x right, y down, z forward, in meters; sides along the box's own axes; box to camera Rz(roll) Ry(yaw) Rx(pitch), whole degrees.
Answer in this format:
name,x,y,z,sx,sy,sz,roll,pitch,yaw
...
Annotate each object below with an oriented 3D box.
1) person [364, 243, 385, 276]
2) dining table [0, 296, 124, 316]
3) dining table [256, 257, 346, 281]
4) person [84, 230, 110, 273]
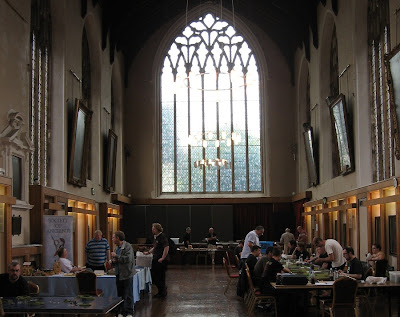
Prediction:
name,x,y,z,sx,sy,sz,roll,pitch,yaw
person,4.784,2.825,11.902,0.398,0.939,0.491,10,-18,-24
dining table,-2.420,2.512,7.489,1.890,0.336,0.939,-3,-13,3
dining table,2.170,2.710,10.892,1.652,0.543,2.928,-4,-14,8
person,-2.635,2.635,11.163,0.565,1.690,0.411,-1,6,-11
